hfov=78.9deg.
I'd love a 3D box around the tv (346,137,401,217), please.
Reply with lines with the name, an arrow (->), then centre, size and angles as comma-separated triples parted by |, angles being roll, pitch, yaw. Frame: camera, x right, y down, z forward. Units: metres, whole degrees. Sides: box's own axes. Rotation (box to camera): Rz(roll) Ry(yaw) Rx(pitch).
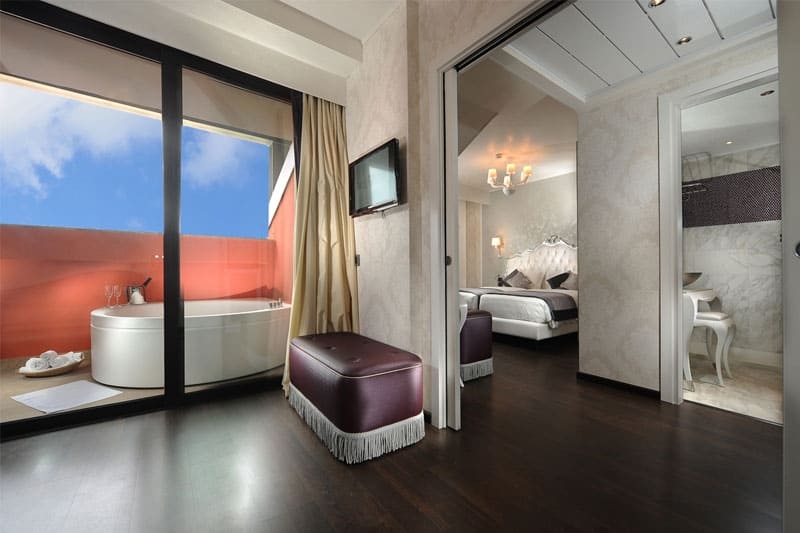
tv -> -0.230, -0.817, 4.507 | 0.103, 0.620, 0.809 | -1, -1, -35

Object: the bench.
bench -> -0.299, 1.037, 4.077 | 0.784, 0.630, 1.233 | 2, 1, -30

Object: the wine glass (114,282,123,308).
wine glass -> -2.518, 0.258, 4.339 | 0.089, 0.181, 0.055 | -6, 11, -32

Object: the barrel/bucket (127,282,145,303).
barrel/bucket -> -2.379, 0.252, 4.367 | 0.154, 0.157, 0.130 | -2, 3, -31

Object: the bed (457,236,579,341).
bed -> 2.008, 0.462, 6.870 | 1.557, 1.153, 1.901 | 0, -2, -29

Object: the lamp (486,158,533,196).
lamp -> 1.807, -1.418, 7.948 | 0.595, 0.430, 0.741 | -2, -4, -2

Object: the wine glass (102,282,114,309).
wine glass -> -2.586, 0.262, 4.316 | 0.105, 0.191, 0.050 | -5, 10, -27
